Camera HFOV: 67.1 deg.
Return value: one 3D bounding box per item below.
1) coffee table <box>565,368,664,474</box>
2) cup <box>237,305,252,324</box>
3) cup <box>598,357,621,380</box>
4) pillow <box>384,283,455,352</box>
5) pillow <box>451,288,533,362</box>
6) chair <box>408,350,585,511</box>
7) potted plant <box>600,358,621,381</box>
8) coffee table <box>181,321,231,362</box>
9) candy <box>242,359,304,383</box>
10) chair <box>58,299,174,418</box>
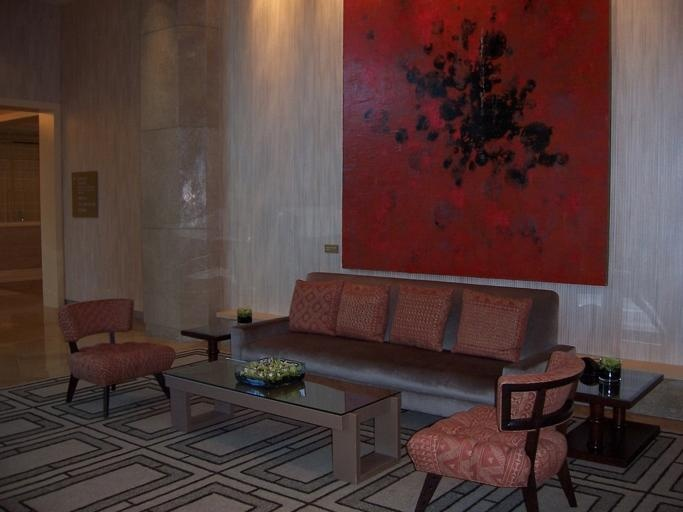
[{"bbox_3d":[1.863,0.932,3.553,0.511,0.441,0.953,4,7,39],"label":"coffee table"},{"bbox_3d":[-1.035,0.636,5.603,0.187,0.178,0.175,2,0,0],"label":"cup"},{"bbox_3d":[1.913,0.788,3.675,0.143,0.143,0.153,0,2,0],"label":"cup"},{"bbox_3d":[0.715,0.534,4.603,0.329,0.508,0.589,-18,14,-42],"label":"pillow"},{"bbox_3d":[1.224,0.564,4.239,0.328,0.498,0.577,-12,13,-43],"label":"pillow"},{"bbox_3d":[0.881,0.920,3.080,0.912,0.936,0.918,2,1,34],"label":"chair"},{"bbox_3d":[1.874,0.794,3.603,0.155,0.146,0.146,-4,4,-44],"label":"potted plant"},{"bbox_3d":[-1.562,0.983,5.946,0.251,0.293,0.472,0,1,32],"label":"coffee table"},{"bbox_3d":[-0.480,0.822,3.732,0.229,0.079,0.235,0,0,44],"label":"candy"},{"bbox_3d":[-2.013,0.785,4.894,1.060,1.157,1.041,0,2,36],"label":"chair"}]
